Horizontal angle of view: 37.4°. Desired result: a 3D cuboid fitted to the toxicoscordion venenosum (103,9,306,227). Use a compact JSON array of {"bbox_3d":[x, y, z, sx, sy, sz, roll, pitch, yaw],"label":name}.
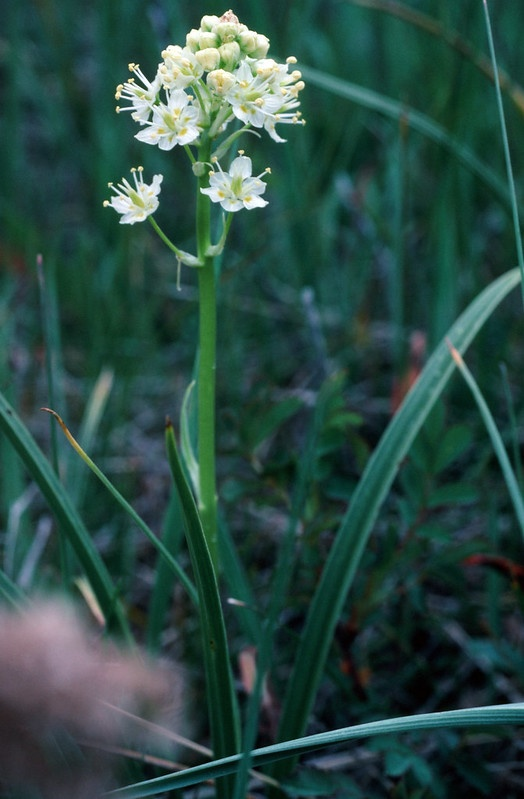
[{"bbox_3d":[-0.081,-0.444,1.442,0.315,0.373,0.450,-4,-69,-19],"label":"toxicoscordion venenosum"}]
